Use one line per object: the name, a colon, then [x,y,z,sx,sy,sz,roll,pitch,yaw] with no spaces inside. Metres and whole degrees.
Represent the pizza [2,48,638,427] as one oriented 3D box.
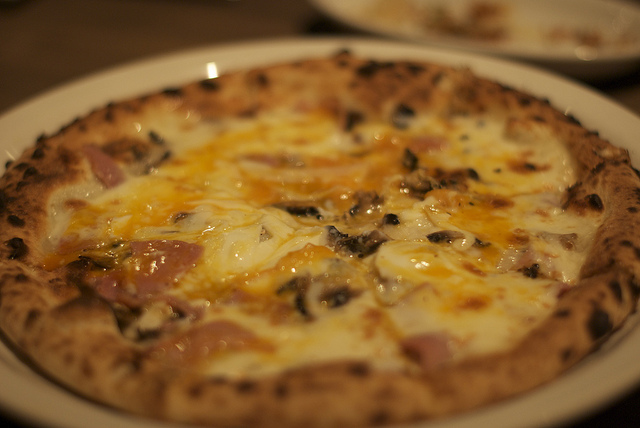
pizza: [0.012,0.001,0.792,0.740,0.140,0.507,-14,69,-4]
